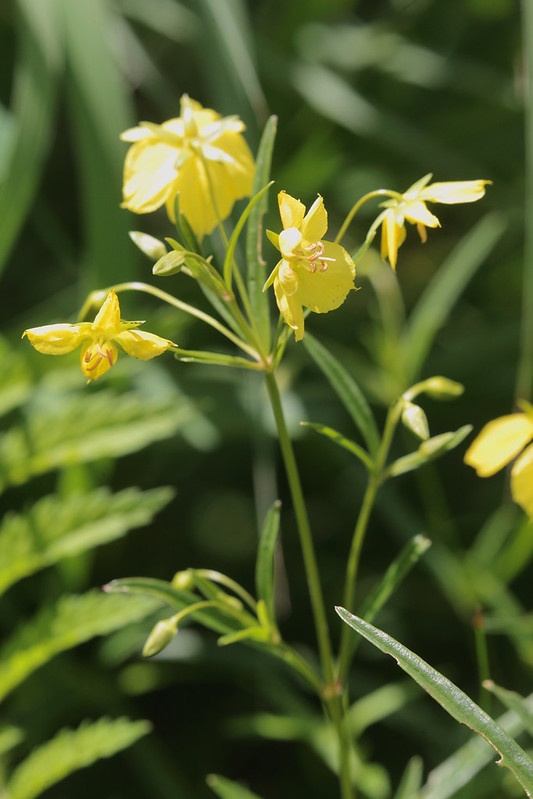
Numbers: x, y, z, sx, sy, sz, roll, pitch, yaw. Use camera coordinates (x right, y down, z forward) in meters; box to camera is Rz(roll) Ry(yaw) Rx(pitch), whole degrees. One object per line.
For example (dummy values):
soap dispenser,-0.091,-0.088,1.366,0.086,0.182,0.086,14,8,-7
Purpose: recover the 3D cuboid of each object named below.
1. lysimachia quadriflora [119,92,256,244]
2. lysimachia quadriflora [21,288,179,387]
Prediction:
lysimachia quadriflora,-0.071,-0.179,0.679,0.138,0.125,0.064,1,-10,-12
lysimachia quadriflora,-0.129,-0.045,0.627,0.105,0.062,0.096,-11,-23,-1
